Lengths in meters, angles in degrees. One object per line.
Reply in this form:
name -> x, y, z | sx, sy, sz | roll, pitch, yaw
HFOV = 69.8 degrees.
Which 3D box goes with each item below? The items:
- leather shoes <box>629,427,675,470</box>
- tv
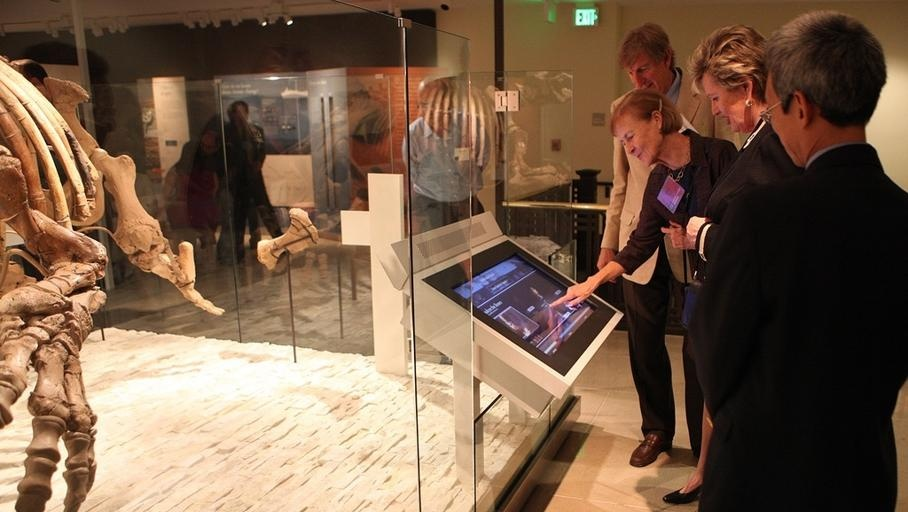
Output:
leather shoes -> 1.045, 1.038, 3.535 | 0.336, 0.130, 0.112 | -9, 15, -40
tv -> 0.297, 0.040, 2.764 | 0.690, 0.386, 1.035 | 3, 11, 23
